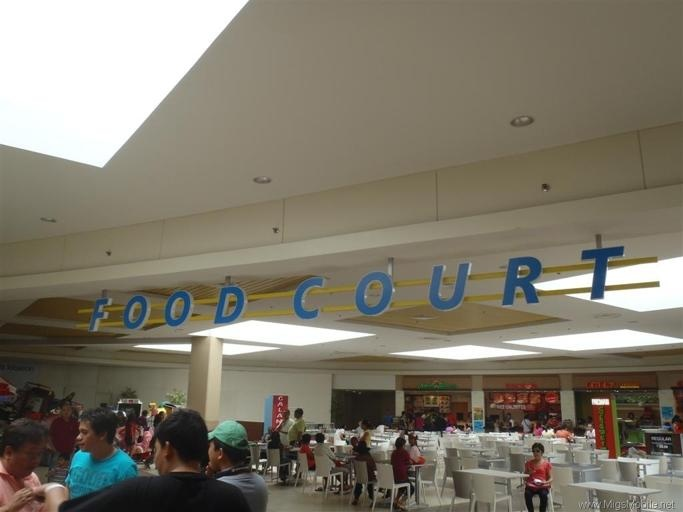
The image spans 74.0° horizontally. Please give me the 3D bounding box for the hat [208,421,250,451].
[{"bbox_3d":[-0.687,1.103,2.779,0.230,0.157,0.213,8,-22,-13],"label":"hat"}]

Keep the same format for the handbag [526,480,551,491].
[{"bbox_3d":[3.362,3.913,7.714,0.197,0.074,0.239,10,-20,-22],"label":"handbag"}]
